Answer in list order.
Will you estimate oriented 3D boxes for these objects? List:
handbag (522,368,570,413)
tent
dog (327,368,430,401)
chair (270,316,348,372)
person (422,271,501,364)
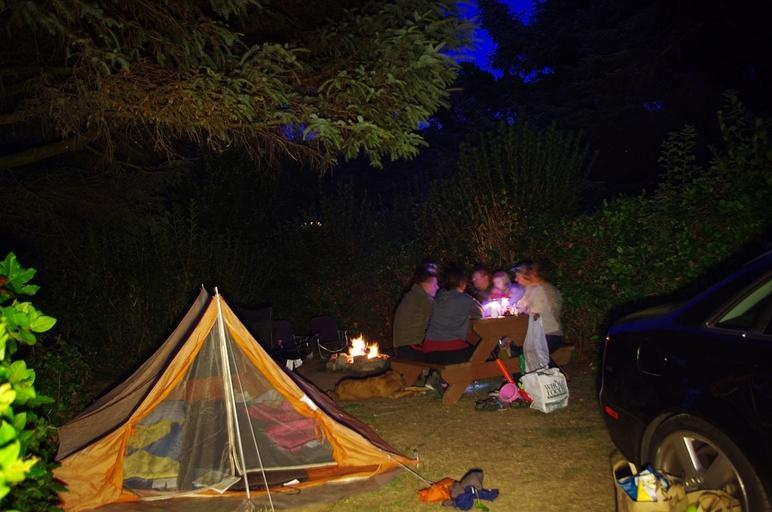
[{"bbox_3d":[2.331,1.983,9.196,0.668,0.675,0.639,-4,2,-41],"label":"handbag"},{"bbox_3d":[-2.381,1.912,8.235,3.208,1.606,3.186,0,-6,-31],"label":"tent"},{"bbox_3d":[-0.138,2.137,10.167,1.657,0.561,0.603,-3,-2,-7],"label":"dog"},{"bbox_3d":[-1.625,1.724,12.393,1.107,1.513,1.075,1,-10,-43],"label":"chair"},{"bbox_3d":[1.121,0.942,10.100,0.912,1.447,1.052,5,14,25],"label":"person"}]
